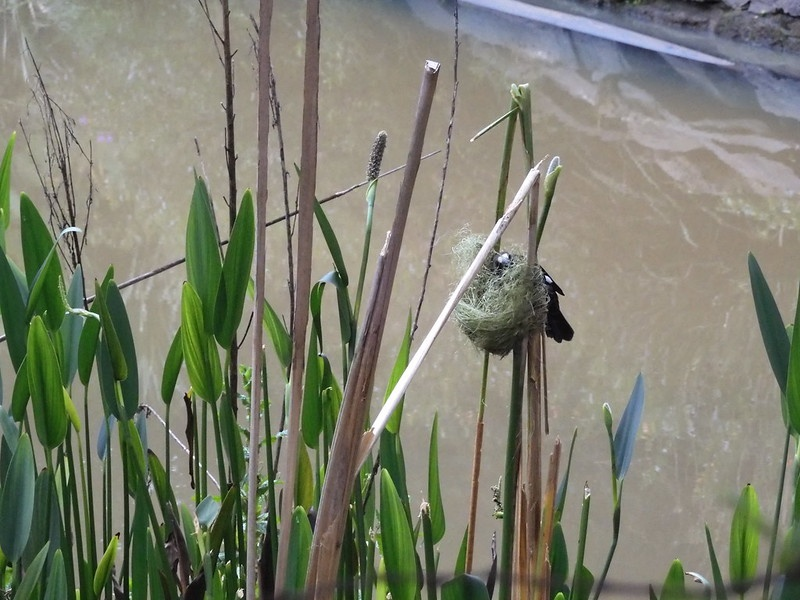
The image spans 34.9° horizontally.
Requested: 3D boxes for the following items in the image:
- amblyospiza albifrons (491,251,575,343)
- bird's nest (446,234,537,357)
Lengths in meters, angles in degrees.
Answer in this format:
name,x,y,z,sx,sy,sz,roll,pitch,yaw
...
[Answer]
name,x,y,z,sx,sy,sz,roll,pitch,yaw
amblyospiza albifrons,0.204,0.002,1.972,0.123,0.154,0.153,4,-13,3
bird's nest,0.145,0.005,1.915,0.123,0.173,0.096,6,-5,8
